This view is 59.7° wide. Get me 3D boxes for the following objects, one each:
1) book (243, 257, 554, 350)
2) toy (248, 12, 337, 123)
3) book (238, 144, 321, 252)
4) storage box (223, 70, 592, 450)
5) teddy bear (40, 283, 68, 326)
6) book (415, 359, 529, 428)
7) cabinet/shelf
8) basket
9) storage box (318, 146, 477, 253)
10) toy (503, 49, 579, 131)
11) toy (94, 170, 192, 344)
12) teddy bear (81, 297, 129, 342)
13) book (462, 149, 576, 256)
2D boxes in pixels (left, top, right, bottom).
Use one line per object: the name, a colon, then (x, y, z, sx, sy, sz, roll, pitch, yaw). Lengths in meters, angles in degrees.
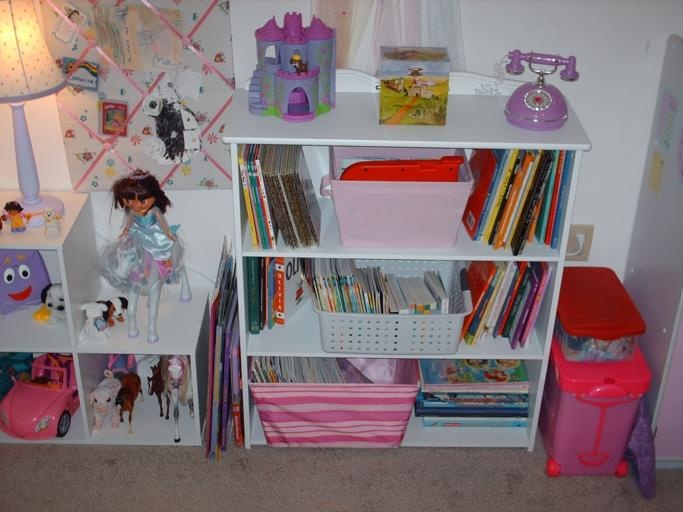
book: (0.325, 0.171, 2.330, 0.726, 0.253, 0.485, 2, 21, 3)
toy: (-0.190, -0.659, 2.137, 0.373, 0.383, 0.349, -5, 34, -8)
book: (-0.231, -0.223, 2.140, 0.267, 0.354, 0.208, -7, 29, -14)
storage box: (0.233, -0.013, 2.227, 1.407, 1.713, 0.564, 0, 39, 2)
teddy bear: (-1.196, 0.200, 2.511, 0.120, 0.169, 0.101, -4, 24, -30)
book: (0.558, 0.586, 2.516, 0.401, 0.261, 0.304, -1, 29, 3)
cabinet/shelf: (-0.986, 0.254, 2.465, 0.972, 1.019, 0.336, -1, 30, -3)
basket: (0.192, 0.217, 2.346, 0.515, 0.196, 0.369, 2, 36, 2)
storage box: (0.204, -0.205, 2.214, 0.500, 0.272, 0.349, 1, 41, 1)
toy: (0.701, -0.617, 2.123, 0.241, 0.234, 0.380, 7, 29, 13)
toy: (-0.786, -0.007, 2.369, 0.344, 0.676, 0.228, -13, 30, -24)
teddy bear: (-0.977, 0.242, 2.470, 0.093, 0.125, 0.249, 5, 21, 7)
book: (0.650, -0.251, 2.284, 0.363, 0.437, 0.328, 19, 21, 19)
